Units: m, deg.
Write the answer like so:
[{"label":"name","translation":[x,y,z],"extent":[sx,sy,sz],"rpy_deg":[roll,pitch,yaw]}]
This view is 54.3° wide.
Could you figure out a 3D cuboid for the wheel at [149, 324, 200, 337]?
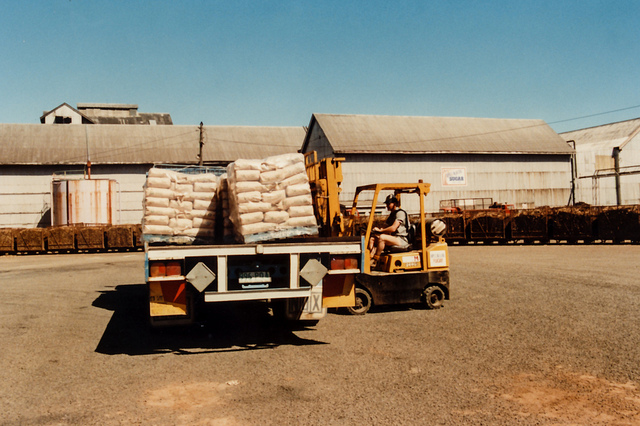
[{"label":"wheel","translation":[-3.722,3.030,16.019],"extent":[1.270,0.161,0.626],"rpy_deg":[-1,0,-13]}]

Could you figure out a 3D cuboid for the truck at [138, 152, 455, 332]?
[{"label":"truck","translation":[-0.386,0.780,16.245],"extent":[6.596,3.459,5.061],"rpy_deg":[1,0,-14]}]

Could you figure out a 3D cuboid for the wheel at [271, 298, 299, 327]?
[{"label":"wheel","translation":[-0.903,2.741,16.298],"extent":[0.687,1.082,1.040],"rpy_deg":[0,4,-6]}]

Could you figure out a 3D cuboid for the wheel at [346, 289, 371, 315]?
[{"label":"wheel","translation":[1.034,2.336,16.455],"extent":[0.740,0.855,0.256],"rpy_deg":[-2,5,-1]}]

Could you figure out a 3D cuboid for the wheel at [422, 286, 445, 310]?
[{"label":"wheel","translation":[3.131,2.356,17.269],"extent":[0.516,0.589,0.176],"rpy_deg":[-7,0,-15]}]

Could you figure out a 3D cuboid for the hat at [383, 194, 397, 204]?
[{"label":"hat","translation":[2.003,-0.398,17.652],"extent":[0.284,0.173,0.217],"rpy_deg":[-1,-5,4]}]
